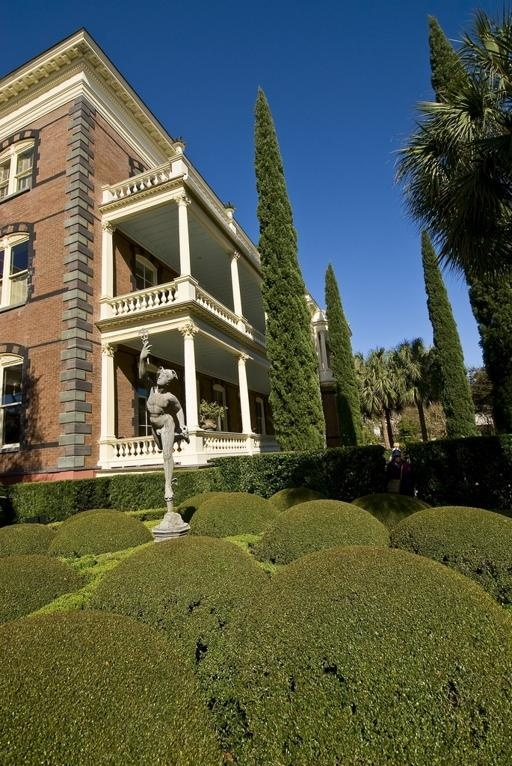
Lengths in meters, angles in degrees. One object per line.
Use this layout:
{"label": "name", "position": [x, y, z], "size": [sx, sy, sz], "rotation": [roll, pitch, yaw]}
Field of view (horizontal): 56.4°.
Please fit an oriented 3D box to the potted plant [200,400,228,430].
{"label": "potted plant", "position": [-1.373, 1.067, 15.301], "size": [0.927, 1.049, 1.027], "rotation": [-6, -11, 10]}
